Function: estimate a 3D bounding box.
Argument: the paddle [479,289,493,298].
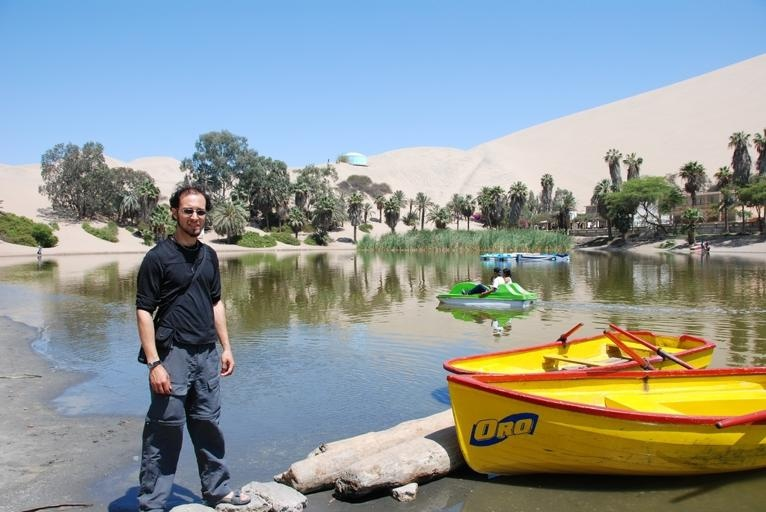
[{"bbox_3d":[4.162,1.524,22.810,0.422,0.138,0.293,-4,2,30],"label":"paddle"}]

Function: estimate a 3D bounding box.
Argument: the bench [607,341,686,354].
[{"bbox_3d":[5.420,1.891,11.606,0.852,0.172,0.528,9,3,43],"label":"bench"}]

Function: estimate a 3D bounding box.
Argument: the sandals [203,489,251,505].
[{"bbox_3d":[-2.101,3.231,7.600,0.562,0.132,0.229,-3,3,-5],"label":"sandals"}]
